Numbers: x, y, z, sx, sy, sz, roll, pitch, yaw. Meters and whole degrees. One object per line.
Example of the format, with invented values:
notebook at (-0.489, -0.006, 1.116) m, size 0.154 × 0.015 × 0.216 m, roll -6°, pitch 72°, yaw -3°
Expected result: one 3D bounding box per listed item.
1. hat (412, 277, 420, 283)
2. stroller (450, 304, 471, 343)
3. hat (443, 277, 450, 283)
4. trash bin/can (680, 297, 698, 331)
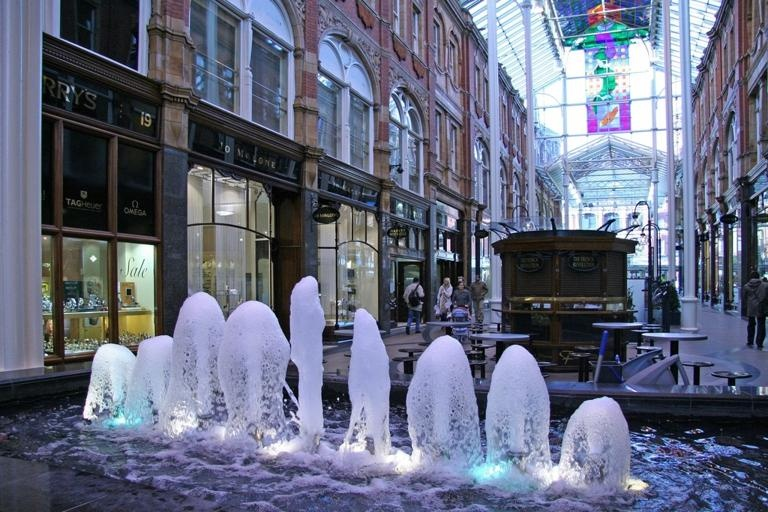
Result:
hat at (1.190, 0.899, 27.005) m, size 0.140 × 0.212 × 0.201 m, roll -1°, pitch -12°, yaw 12°
stroller at (1.918, 1.699, 18.059) m, size 0.592 × 0.868 × 0.630 m, roll -8°, pitch 17°, yaw -23°
hat at (1.943, 0.718, 22.369) m, size 0.192 × 0.255 × 0.235 m, roll 0°, pitch -7°, yaw 1°
trash bin/can at (9.901, 1.859, 22.988) m, size 0.614 × 1.005 × 0.635 m, roll 0°, pitch -3°, yaw -25°
